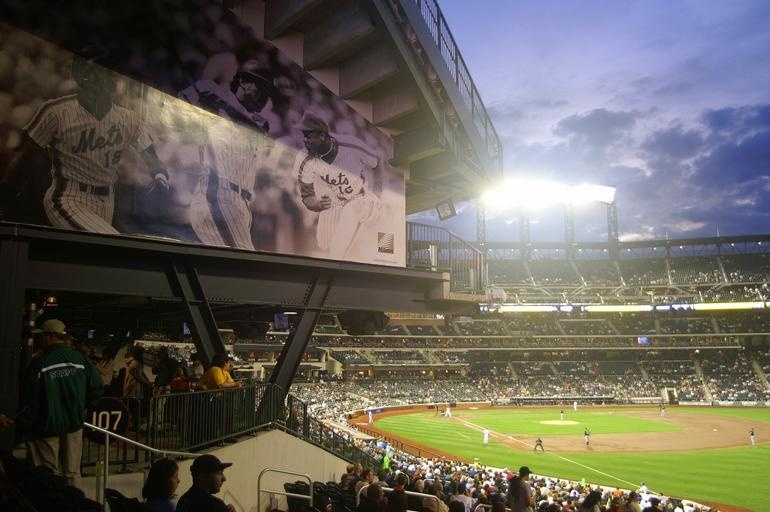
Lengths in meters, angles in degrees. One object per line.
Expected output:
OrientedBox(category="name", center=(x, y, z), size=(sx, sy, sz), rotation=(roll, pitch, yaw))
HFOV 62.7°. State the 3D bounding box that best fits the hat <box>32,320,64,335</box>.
OrientedBox(category="hat", center=(-7.701, 1.614, 14.495), size=(0.433, 0.413, 0.931), rotation=(8, -17, -36))
